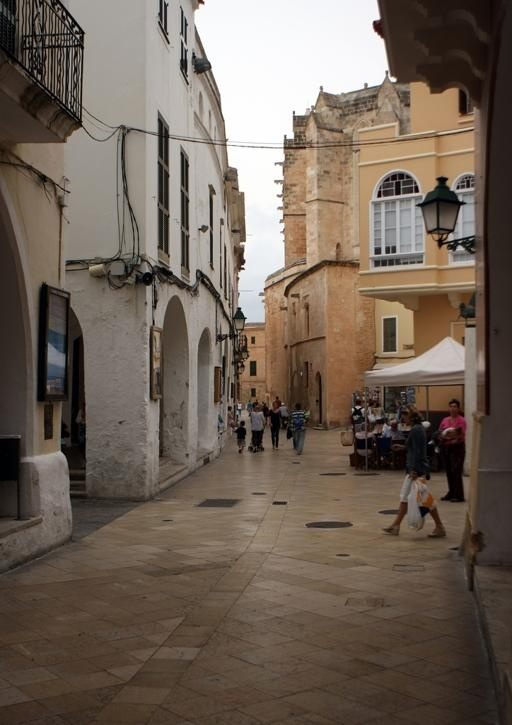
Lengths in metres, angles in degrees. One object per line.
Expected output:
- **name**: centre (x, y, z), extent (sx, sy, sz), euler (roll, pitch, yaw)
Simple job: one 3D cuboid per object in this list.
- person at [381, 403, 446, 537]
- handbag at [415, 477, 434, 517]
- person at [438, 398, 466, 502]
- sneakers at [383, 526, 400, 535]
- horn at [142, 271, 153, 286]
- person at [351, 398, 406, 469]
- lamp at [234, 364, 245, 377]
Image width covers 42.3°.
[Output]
- **person**: centre (1.808, 1.297, 7.753), extent (0.580, 1.544, 0.431), euler (-1, -28, 15)
- **handbag**: centre (1.947, 1.565, 7.690), extent (0.187, 0.443, 0.347), euler (-2, -5, 16)
- **person**: centre (3.068, 1.405, 10.478), extent (0.334, 1.635, 0.381), euler (2, -7, -11)
- **sneakers**: centre (1.549, 1.940, 7.643), extent (0.170, 0.096, 0.219), euler (-2, -5, 12)
- **horn**: centre (-1.750, -1.377, 10.736), extent (0.164, 0.247, 0.404), euler (0, -5, -5)
- **person**: centre (2.972, 1.794, 16.955), extent (1.171, 1.192, 2.436), euler (0, -4, 3)
- **lamp**: centre (-1.082, 0.423, 41.268), extent (0.530, 0.418, 1.253), euler (-8, -15, 1)
